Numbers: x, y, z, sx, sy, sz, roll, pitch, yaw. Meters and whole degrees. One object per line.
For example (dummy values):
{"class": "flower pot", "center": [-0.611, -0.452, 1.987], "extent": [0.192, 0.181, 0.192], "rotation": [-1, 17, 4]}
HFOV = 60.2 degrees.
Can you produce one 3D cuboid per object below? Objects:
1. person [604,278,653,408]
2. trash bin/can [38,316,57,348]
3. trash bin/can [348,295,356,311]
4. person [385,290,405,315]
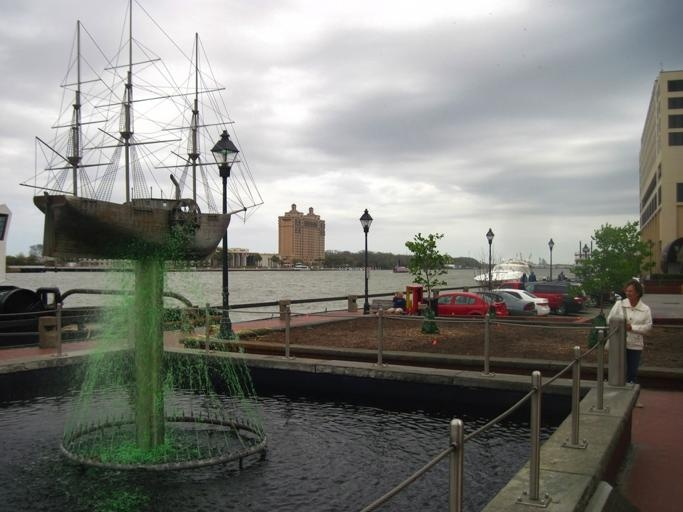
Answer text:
{"class": "person", "center": [5.491, 1.595, 11.247], "extent": [0.776, 2.134, 0.642], "rotation": [7, 15, 42]}
{"class": "trash bin/can", "center": [-7.612, 2.011, 15.342], "extent": [0.414, 0.874, 1.176], "rotation": [-2, 3, -26]}
{"class": "trash bin/can", "center": [0.576, 2.600, 31.857], "extent": [0.470, 0.907, 1.027], "rotation": [-1, 3, -1]}
{"class": "person", "center": [2.653, 2.353, 28.361], "extent": [0.750, 0.985, 0.988], "rotation": [1, -3, -38]}
